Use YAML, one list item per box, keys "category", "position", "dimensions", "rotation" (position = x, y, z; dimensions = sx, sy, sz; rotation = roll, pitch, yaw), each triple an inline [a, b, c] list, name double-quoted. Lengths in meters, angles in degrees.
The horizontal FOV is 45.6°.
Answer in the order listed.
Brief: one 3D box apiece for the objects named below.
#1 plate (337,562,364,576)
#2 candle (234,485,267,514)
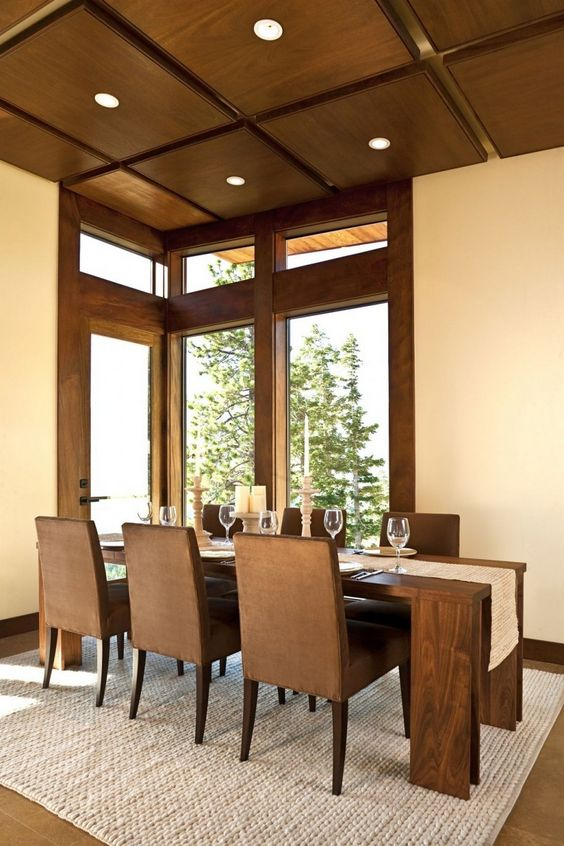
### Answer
- category: "plate"
  position: [0.241, 0.515, 2.356]
  dimensions: [0.086, 0.012, 0.089]
  rotation: [-1, 1, 6]
- category: "candle"
  position: [-0.148, 0.336, 3.057]
  dimensions: [0.121, 0.118, 0.131]
  rotation: [1, -1, -26]
